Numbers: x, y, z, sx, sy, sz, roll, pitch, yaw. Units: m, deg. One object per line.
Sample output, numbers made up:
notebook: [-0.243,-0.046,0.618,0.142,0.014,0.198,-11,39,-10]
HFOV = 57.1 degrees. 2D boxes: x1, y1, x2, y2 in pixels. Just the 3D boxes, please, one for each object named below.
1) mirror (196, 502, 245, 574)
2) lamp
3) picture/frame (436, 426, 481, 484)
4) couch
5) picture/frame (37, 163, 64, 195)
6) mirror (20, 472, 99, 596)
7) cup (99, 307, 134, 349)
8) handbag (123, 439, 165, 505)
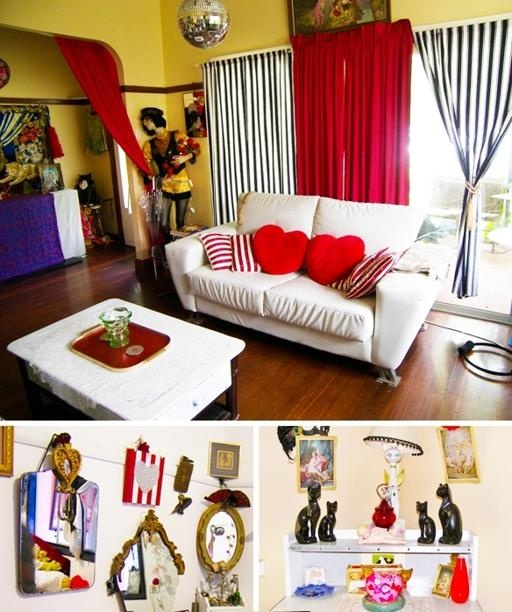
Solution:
mirror: [-0.143,0.899,1.810,0.247,0.298,0.030,8,-17,-39]
lamp: [0.512,0.680,1.773,0.238,0.396,0.231,17,-10,-38]
picture/frame: [0.735,0.524,1.691,0.124,0.245,0.022,-9,12,22]
couch: [0.344,-0.180,3.042,1.629,0.911,0.804,10,23,34]
picture/frame: [-2.174,-1.330,4.932,0.022,0.334,0.320,2,22,25]
mirror: [-0.607,0.689,1.447,0.248,0.397,0.140,-12,20,-24]
cup: [-0.603,0.090,2.150,0.145,0.173,0.151,-2,23,1]
handbag: [-0.397,0.597,1.651,0.168,0.240,0.077,-11,19,-20]
